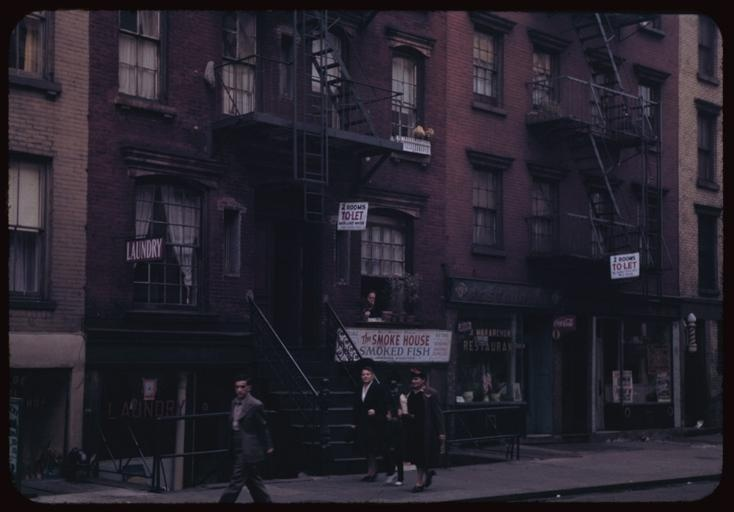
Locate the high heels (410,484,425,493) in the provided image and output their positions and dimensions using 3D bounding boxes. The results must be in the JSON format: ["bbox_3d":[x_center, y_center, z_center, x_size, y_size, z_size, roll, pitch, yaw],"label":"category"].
[{"bbox_3d":[1.109,4.987,27.557,0.303,0.179,0.202,1,-10,-15],"label":"high heels"}]

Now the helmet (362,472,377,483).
[{"bbox_3d":[0.053,4.895,28.276,0.292,0.122,0.152,7,-11,-22],"label":"helmet"}]

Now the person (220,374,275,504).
[{"bbox_3d":[-2.389,3.703,25.799,1.027,2.494,0.758,-9,-12,40],"label":"person"}]

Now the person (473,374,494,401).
[{"bbox_3d":[3.092,3.465,34.062,0.621,0.748,0.140,6,-12,-37],"label":"person"}]

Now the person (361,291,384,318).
[{"bbox_3d":[0.123,1.245,32.723,0.339,0.814,0.757,-4,-10,16],"label":"person"}]

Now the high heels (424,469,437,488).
[{"bbox_3d":[1.333,4.784,27.745,0.167,0.540,0.223,13,1,19],"label":"high heels"}]
